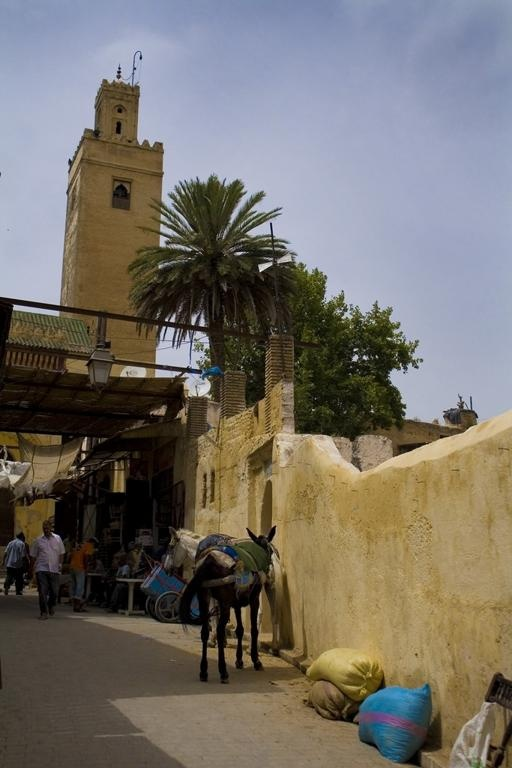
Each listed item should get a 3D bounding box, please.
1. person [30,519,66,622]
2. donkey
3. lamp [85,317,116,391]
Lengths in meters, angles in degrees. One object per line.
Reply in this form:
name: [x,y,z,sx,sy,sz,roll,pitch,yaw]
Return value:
person: [-3.579,3.175,11.512,0.574,1.540,0.476,5,-12,-35]
donkey: [-0.287,2.289,7.654,0.965,1.798,0.981,4,-10,-19]
lamp: [-3.034,-0.648,13.174,0.531,1.567,0.549,-13,-20,33]
